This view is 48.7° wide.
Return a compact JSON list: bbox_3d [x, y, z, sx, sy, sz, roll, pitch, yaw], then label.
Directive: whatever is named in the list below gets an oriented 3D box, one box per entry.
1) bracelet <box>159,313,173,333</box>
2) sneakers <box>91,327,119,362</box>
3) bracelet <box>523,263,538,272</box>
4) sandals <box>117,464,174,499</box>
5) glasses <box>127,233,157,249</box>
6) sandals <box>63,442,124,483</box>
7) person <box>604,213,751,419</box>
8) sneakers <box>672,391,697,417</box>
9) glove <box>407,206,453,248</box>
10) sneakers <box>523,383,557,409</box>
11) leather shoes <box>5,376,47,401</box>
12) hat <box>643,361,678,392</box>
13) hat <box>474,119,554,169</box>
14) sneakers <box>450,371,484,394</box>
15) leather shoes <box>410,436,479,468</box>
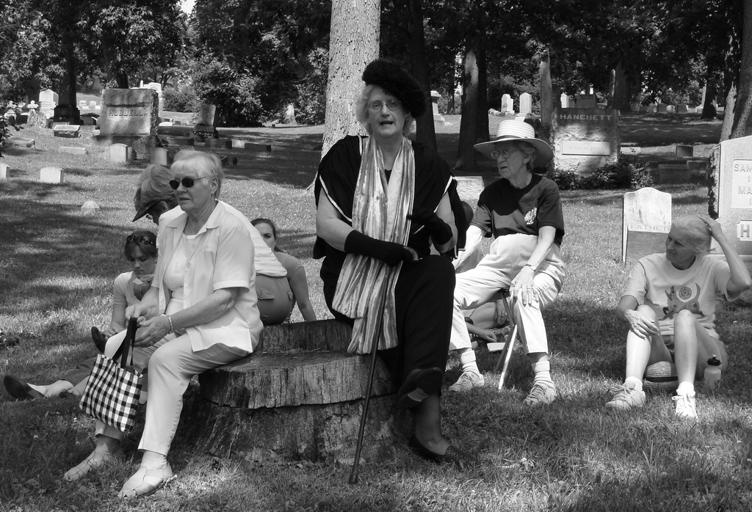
[{"bbox_3d":[-1.617,0.518,6.396,0.044,0.127,0.099,-2,-10,5],"label":"bracelet"},{"bbox_3d":[-2.353,0.764,7.203,0.131,0.368,0.107,-9,-14,-14],"label":"sneakers"},{"bbox_3d":[1.427,0.103,7.628,0.073,0.037,0.082,17,9,-43],"label":"bracelet"},{"bbox_3d":[-1.696,1.642,6.186,0.409,0.190,0.146,-12,7,-43],"label":"sandals"},{"bbox_3d":[-2.090,-0.148,7.427,0.146,0.052,0.164,6,-23,7],"label":"glasses"},{"bbox_3d":[-2.226,1.538,6.433,0.519,0.235,0.158,-18,10,-38],"label":"sandals"},{"bbox_3d":[2.774,0.488,7.488,1.130,1.683,0.960,5,7,19],"label":"person"},{"bbox_3d":[2.656,1.282,7.175,0.197,0.295,0.171,-2,-14,7],"label":"sneakers"},{"bbox_3d":[0.439,-0.222,6.606,0.313,0.111,0.262,30,-19,7],"label":"glove"},{"bbox_3d":[1.467,1.236,7.415,0.128,0.147,0.375,-4,-5,33],"label":"sneakers"},{"bbox_3d":[-3.179,1.177,7.473,0.422,0.223,0.219,2,7,-5],"label":"leather shoes"},{"bbox_3d":[2.670,1.126,7.830,0.229,0.253,0.334,-2,-6,8],"label":"hat"},{"bbox_3d":[1.464,-1.096,8.058,0.517,0.247,0.589,-2,-15,43],"label":"hat"},{"bbox_3d":[0.852,1.156,7.631,0.359,0.158,0.136,-4,1,-25],"label":"sneakers"},{"bbox_3d":[0.546,1.550,6.502,0.549,0.170,0.210,11,7,7],"label":"leather shoes"}]
